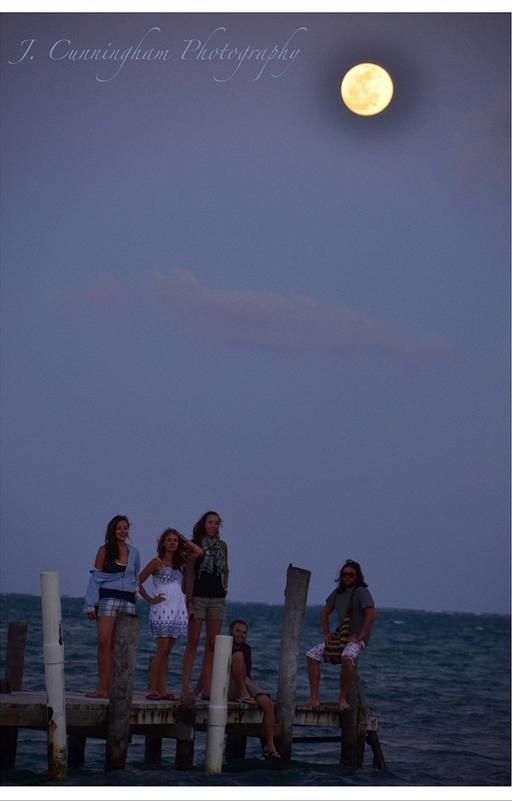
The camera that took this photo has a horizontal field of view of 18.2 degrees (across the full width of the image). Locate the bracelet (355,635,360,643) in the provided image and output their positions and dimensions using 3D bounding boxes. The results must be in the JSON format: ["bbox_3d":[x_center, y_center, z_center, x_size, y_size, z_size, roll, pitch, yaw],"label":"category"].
[{"bbox_3d":[2.395,5.652,38.233,0.130,0.189,0.050,-4,-3,2],"label":"bracelet"}]

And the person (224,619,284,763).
[{"bbox_3d":[-0.295,6.825,37.974,1.132,3.373,1.112,10,-14,-40],"label":"person"}]

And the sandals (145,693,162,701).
[{"bbox_3d":[-2.444,6.842,37.204,0.302,0.138,0.129,-9,-10,44],"label":"sandals"}]

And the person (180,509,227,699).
[{"bbox_3d":[-1.386,4.857,37.905,1.225,4.189,1.012,6,-9,-44],"label":"person"}]

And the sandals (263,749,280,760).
[{"bbox_3d":[0.342,8.329,37.799,0.434,0.184,0.173,3,-4,3],"label":"sandals"}]

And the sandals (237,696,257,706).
[{"bbox_3d":[-0.221,7.026,37.637,0.422,0.181,0.172,-2,-4,30],"label":"sandals"}]
